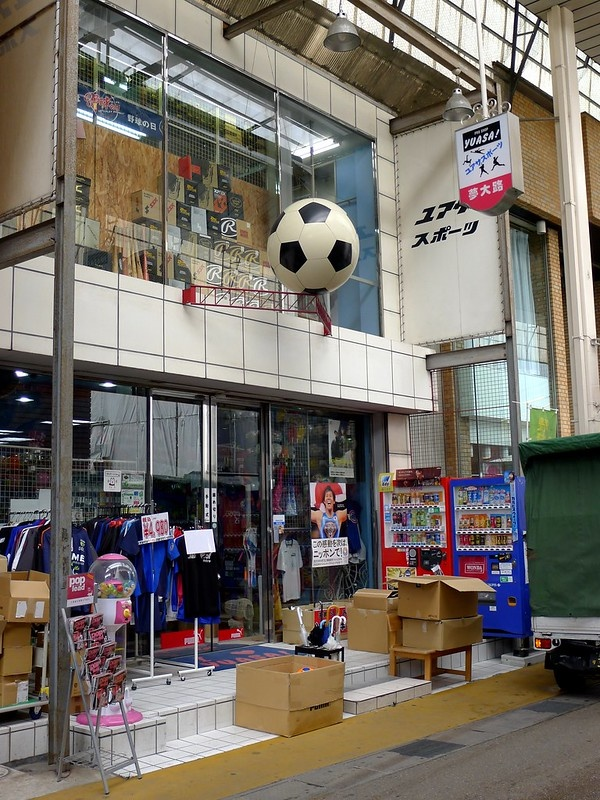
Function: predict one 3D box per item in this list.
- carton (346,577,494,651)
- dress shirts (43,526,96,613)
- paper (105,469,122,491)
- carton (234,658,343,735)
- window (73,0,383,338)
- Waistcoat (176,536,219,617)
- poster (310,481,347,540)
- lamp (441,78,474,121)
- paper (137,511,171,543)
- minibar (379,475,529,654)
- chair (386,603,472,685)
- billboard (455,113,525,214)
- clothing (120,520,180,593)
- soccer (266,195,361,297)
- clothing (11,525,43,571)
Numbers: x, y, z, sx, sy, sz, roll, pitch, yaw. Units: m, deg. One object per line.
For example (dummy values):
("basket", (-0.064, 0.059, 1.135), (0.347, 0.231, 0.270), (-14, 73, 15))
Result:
("carton", (1.097, 1.928, 6.884), (0.799, 0.667, 1.054), (6, -7, -42))
("dress shirts", (-1.692, 1.269, 5.515), (0.399, 0.654, 0.093), (4, -33, -36))
("paper", (-1.775, 0.789, 6.965), (0.017, 0.209, 0.164), (-5, -7, 35))
("carton", (-0.041, 2.040, 5.200), (0.542, 0.418, 0.543), (5, -8, -41))
("window", (-0.844, -2.330, 7.798), (0.038, 2.279, 3.381), (-4, -10, 36))
("Waistcoat", (-0.867, 1.567, 6.455), (0.156, 0.750, 0.503), (-5, -6, 28))
("poster", (0.322, 1.380, 9.015), (0.023, 0.725, 0.553), (-6, -10, 32))
("lamp", (1.871, -3.296, 8.765), (0.364, 0.451, 0.386), (4, -5, -26))
("paper", (-1.201, 1.060, 6.023), (0.231, 0.266, 0.036), (-7, -11, 38))
("minibar", (1.734, 1.607, 8.573), (1.477, 2.066, 0.663), (-1, 27, 15))
("chair", (1.210, 2.330, 6.800), (0.513, 0.900, 0.823), (-8, -11, 35))
("billboard", (1.953, -2.263, 7.725), (0.576, 1.053, 0.237), (-12, -27, 31))
("clothing", (-1.236, 1.276, 5.963), (0.474, 0.802, 0.123), (4, -4, -22))
("soccer", (0.175, -1.436, 7.712), (0.786, 1.141, 0.858), (9, 18, 39))
("clothing", (-1.989, 1.099, 5.378), (0.197, 0.455, 0.098), (3, -17, -6))
